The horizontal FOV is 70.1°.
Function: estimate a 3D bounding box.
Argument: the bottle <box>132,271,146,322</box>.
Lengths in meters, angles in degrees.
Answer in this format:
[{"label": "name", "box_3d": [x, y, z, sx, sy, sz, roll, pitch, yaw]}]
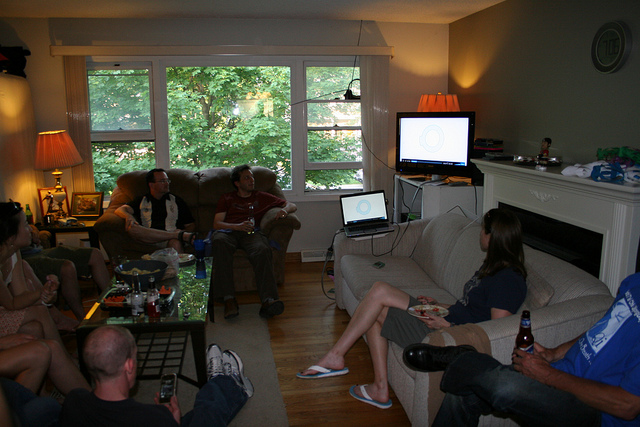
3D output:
[{"label": "bottle", "box_3d": [-1.290, 0.583, 3.210, 0.090, 0.271, 0.308, -8, 12, -22]}]

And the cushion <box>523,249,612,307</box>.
[{"label": "cushion", "box_3d": [1.552, 0.411, 2.881, 0.335, 0.093, 0.344, -13, 33, -2]}]

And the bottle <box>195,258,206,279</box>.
[{"label": "bottle", "box_3d": [-0.993, 0.467, 3.775, 0.083, 0.135, 0.110, 5, 14, 35]}]

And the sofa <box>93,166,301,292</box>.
[{"label": "sofa", "box_3d": [-1.309, 0.144, 5.033, 2.044, 1.127, 1.041, -2, 12, -10]}]

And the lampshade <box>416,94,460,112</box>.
[{"label": "lampshade", "box_3d": [1.422, -1.310, 5.403, 0.304, 0.159, 0.298, -3, 10, -14]}]

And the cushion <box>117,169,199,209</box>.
[{"label": "cushion", "box_3d": [-1.946, -0.216, 5.293, 0.814, 0.253, 0.777, 30, 20, 16]}]

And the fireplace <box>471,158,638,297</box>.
[{"label": "fireplace", "box_3d": [1.759, 0.114, 3.312, 0.352, 0.838, 0.989, -2, 11, -13]}]

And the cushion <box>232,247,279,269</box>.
[{"label": "cushion", "box_3d": [-0.707, 0.426, 4.766, 0.286, 0.261, 0.269, 1, -1, -2]}]

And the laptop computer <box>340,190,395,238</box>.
[{"label": "laptop computer", "box_3d": [0.446, 0.003, 4.282, 0.489, 0.274, 0.423, -5, 22, 3]}]

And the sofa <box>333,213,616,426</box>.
[{"label": "sofa", "box_3d": [0.980, 0.609, 3.499, 1.273, 1.256, 1.901, -5, 11, -11]}]

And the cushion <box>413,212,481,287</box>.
[{"label": "cushion", "box_3d": [1.026, 0.251, 3.973, 0.531, 0.520, 0.733, -3, 14, -10]}]

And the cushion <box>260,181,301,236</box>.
[{"label": "cushion", "box_3d": [-0.374, 0.071, 4.793, 0.244, 0.292, 0.311, -15, -22, 30]}]

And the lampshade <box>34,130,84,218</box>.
[{"label": "lampshade", "box_3d": [-2.933, -0.451, 5.142, 0.403, 0.952, 0.411, 4, 13, 32]}]

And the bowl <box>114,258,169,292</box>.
[{"label": "bowl", "box_3d": [-1.375, 0.450, 3.521, 0.292, 0.110, 0.287, 2, 10, 0]}]

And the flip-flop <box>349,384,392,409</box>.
[{"label": "flip-flop", "box_3d": [0.364, 1.321, 3.265, 0.288, 0.077, 0.126, 16, 17, 31]}]

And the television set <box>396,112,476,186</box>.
[{"label": "television set", "box_3d": [1.254, -0.761, 5.150, 1.108, 0.784, 0.301, -3, 8, -25]}]

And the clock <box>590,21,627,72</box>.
[{"label": "clock", "box_3d": [2.349, -1.351, 3.699, 0.026, 0.386, 0.298, -7, 12, -18]}]

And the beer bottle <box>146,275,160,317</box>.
[{"label": "beer bottle", "box_3d": [-1.162, 0.585, 3.172, 0.080, 0.234, 0.165, -7, 12, -16]}]

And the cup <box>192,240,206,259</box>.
[{"label": "cup", "box_3d": [-1.028, 0.310, 3.888, 0.076, 0.196, 0.168, -7, 12, -19]}]

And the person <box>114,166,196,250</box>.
[{"label": "person", "box_3d": [-1.654, 0.023, 4.690, 0.742, 0.764, 1.117, -5, 22, -38]}]

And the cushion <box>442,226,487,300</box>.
[{"label": "cushion", "box_3d": [1.123, 0.380, 3.579, 0.140, 0.518, 0.368, 13, 6, -6]}]

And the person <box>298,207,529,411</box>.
[{"label": "person", "box_3d": [0.642, 0.641, 3.187, 1.459, 1.390, 0.661, 3, 1, 10]}]

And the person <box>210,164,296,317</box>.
[{"label": "person", "box_3d": [-0.785, 0.258, 4.704, 0.789, 0.874, 1.578, 4, 25, -13]}]
